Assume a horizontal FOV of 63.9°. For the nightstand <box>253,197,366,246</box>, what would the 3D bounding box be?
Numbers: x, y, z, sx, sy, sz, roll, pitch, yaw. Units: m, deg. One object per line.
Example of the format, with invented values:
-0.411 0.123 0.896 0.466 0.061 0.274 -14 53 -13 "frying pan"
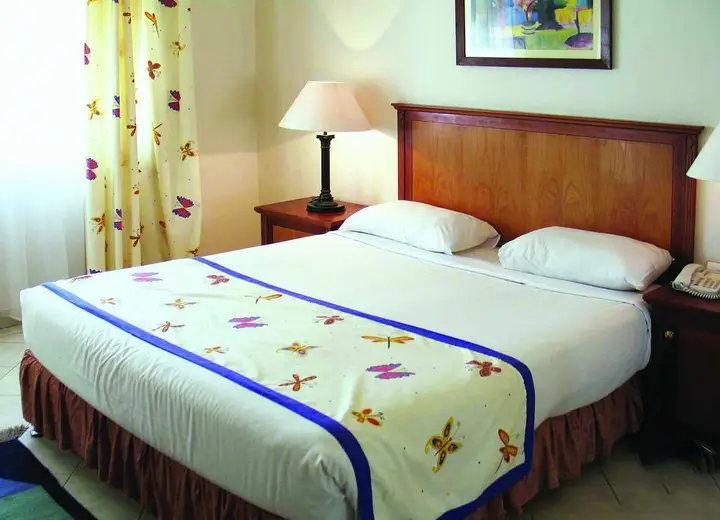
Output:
-0.418 -0.176 4.210 0.498 0.467 0.377 -9 5 6 "nightstand"
